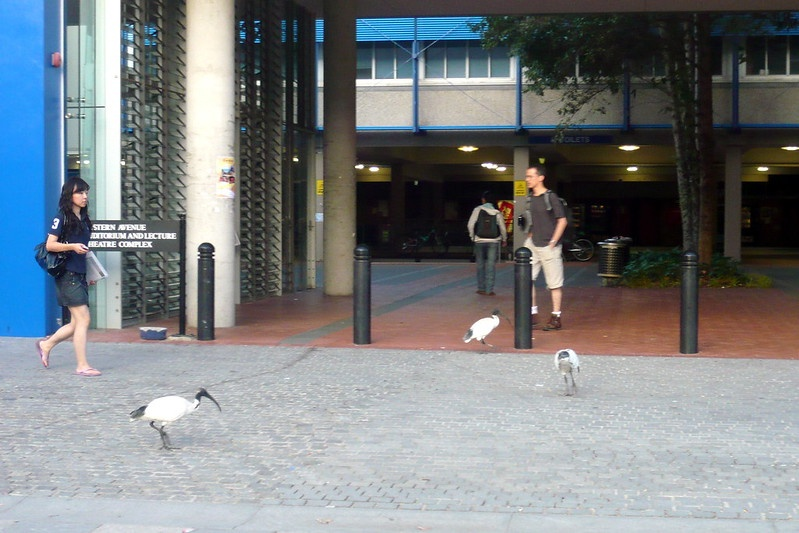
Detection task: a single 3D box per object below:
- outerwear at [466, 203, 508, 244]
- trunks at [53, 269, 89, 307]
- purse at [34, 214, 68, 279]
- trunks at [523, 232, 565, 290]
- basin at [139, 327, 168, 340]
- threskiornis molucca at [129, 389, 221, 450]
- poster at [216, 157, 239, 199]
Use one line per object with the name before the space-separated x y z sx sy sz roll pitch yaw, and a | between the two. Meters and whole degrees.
outerwear | 1.864 -0.826 17.073 0.905 0.684 0.530 12 11 41
trunks | -3.719 0.214 9.776 0.415 0.440 0.532 -6 -3 -13
purse | -3.874 -0.192 9.587 0.239 0.663 0.344 -6 11 -37
trunks | 2.034 -0.028 12.218 0.511 0.721 0.527 -1 9 -10
basin | -3.318 0.903 11.614 0.299 0.092 0.198 1 -1 2
threskiornis molucca | -1.880 1.265 7.199 0.821 0.424 0.246 4 -19 -36
poster | -2.435 -1.235 12.199 0.127 0.582 0.316 7 11 35
